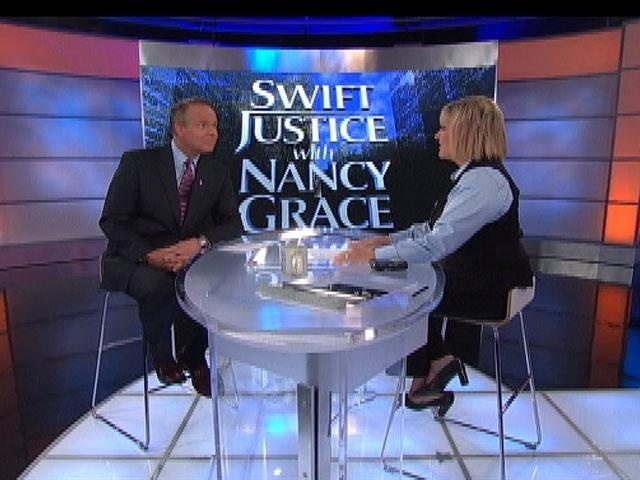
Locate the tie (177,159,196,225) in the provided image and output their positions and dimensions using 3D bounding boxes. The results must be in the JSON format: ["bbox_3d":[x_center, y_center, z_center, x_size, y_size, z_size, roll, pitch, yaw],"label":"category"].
[{"bbox_3d":[-0.862,-0.313,3.374,0.089,0.386,0.017,12,-16,-15],"label":"tie"}]

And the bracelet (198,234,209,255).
[{"bbox_3d":[-0.729,0.009,3.268,0.094,0.103,0.119,1,0,-12],"label":"bracelet"}]
